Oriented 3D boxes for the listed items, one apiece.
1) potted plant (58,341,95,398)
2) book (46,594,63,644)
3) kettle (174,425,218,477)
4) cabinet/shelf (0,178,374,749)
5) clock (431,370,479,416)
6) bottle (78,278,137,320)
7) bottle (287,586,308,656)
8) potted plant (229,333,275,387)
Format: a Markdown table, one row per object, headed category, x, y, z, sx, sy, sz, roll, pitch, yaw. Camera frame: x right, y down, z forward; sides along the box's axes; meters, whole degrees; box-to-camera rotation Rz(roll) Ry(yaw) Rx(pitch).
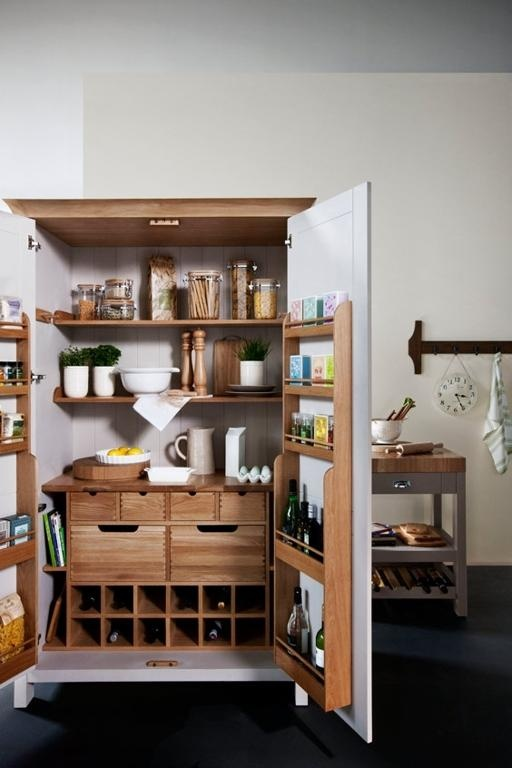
| category | x | y | z | sx | sy | sz | roll | pitch | yaw |
| --- | --- | --- | --- | --- | --- | --- | --- | --- | --- |
| potted plant | -0.821 | -0.057 | 2.908 | 0.198 | 0.293 | 0.205 | 0 | 0 | 21 |
| book | -0.886 | 1.033 | 2.781 | 0.021 | 0.181 | 0.137 | 14 | 24 | -3 |
| kettle | -0.295 | 0.322 | 3.024 | 0.189 | 0.202 | 0.119 | 1 | -4 | -3 |
| cabinet/shelf | -0.292 | 0.371 | 2.894 | 1.478 | 1.829 | 0.898 | -4 | -4 | 26 |
| clock | 1.193 | 0.044 | 3.705 | 0.232 | 0.247 | 0.055 | 4 | 3 | -3 |
| bottle | -0.686 | -0.388 | 2.929 | 0.246 | 0.178 | 0.170 | 1 | 0 | -5 |
| bottle | 0.155 | 0.874 | 2.356 | 0.079 | 0.232 | 0.164 | 0 | 6 | 4 |
| potted plant | -0.016 | -0.097 | 2.892 | 0.199 | 0.230 | 0.185 | 3 | -4 | -25 |
